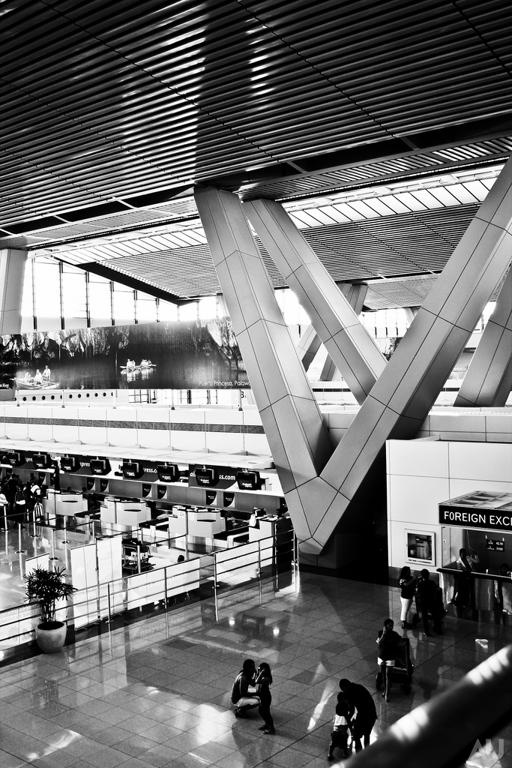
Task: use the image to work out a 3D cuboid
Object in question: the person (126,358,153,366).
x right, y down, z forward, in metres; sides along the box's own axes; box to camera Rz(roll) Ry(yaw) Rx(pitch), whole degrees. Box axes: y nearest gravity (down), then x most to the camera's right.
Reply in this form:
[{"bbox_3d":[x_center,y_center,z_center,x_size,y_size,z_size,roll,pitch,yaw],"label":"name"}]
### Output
[{"bbox_3d":[-3.272,-0.556,17.164,0.855,0.223,0.133,0,-2,36],"label":"person"}]
